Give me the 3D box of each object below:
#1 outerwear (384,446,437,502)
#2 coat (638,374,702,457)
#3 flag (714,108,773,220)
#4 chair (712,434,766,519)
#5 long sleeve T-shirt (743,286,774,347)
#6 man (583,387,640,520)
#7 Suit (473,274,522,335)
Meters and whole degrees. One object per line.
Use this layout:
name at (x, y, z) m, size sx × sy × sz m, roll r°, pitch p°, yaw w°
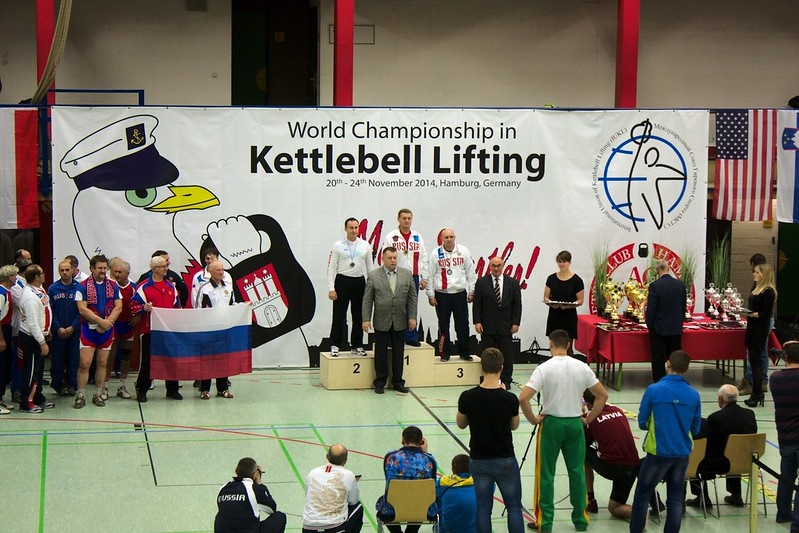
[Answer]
outerwear at (0.093, 2.479, 11.292) m, size 0.629 × 0.994 × 0.496 m, roll 1°, pitch 5°, yaw 0°
coat at (3.375, 1.886, 11.533) m, size 0.763 × 0.957 × 0.470 m, roll 1°, pitch 13°, yaw 4°
flag at (6.663, -1.958, 17.723) m, size 1.231 × 2.129 × 0.463 m, roll 0°, pitch 12°, yaw 0°
chair at (4.436, 2.539, 11.971) m, size 0.509 × 1.116 × 0.681 m, roll -2°, pitch 13°, yaw -3°
long sleeve T-shirt at (6.058, 0.872, 15.566) m, size 0.401 × 1.156 × 0.409 m, roll 6°, pitch 14°, yaw 23°
man at (2.726, 2.295, 12.180) m, size 0.663 × 1.091 × 0.703 m, roll -9°, pitch -16°, yaw -14°
Suit at (1.668, 0.684, 15.956) m, size 0.887 × 1.242 × 0.585 m, roll 0°, pitch 2°, yaw -8°
